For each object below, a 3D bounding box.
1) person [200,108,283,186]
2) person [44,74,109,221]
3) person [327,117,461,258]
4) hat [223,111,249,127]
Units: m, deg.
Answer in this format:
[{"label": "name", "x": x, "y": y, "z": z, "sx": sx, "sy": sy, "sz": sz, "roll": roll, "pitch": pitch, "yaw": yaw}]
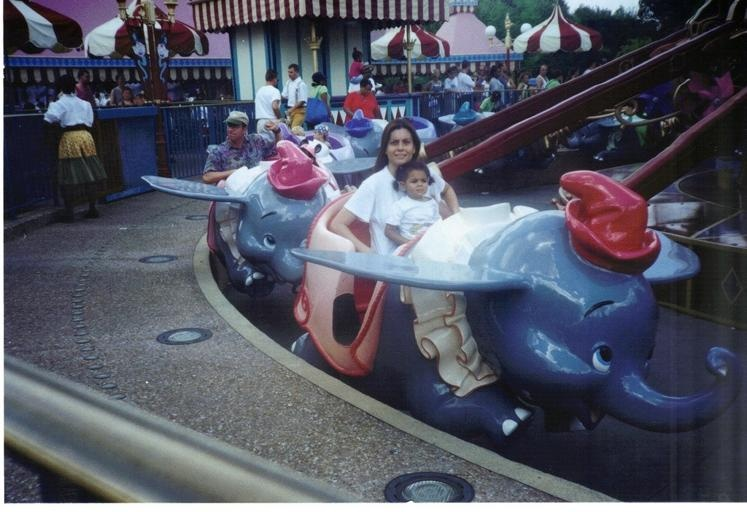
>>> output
[{"label": "person", "x": -1.304, "y": -1.057, "z": 5.732, "sx": 0.466, "sy": 0.637, "sz": 0.821, "roll": 8, "pitch": 17, "yaw": 33}, {"label": "person", "x": -3.876, "y": -1.414, "z": 7.788, "sx": 0.659, "sy": 1.812, "sz": 0.421, "roll": -12, "pitch": 17, "yaw": -39}, {"label": "person", "x": 0.201, "y": -0.378, "z": 3.631, "sx": 0.904, "sy": 0.879, "sz": 0.481, "roll": -16, "pitch": 22, "yaw": -23}, {"label": "hat", "x": -1.301, "y": -1.310, "z": 5.681, "sx": 0.178, "sy": 0.126, "sz": 0.316, "roll": -5, "pitch": 15, "yaw": -15}]
